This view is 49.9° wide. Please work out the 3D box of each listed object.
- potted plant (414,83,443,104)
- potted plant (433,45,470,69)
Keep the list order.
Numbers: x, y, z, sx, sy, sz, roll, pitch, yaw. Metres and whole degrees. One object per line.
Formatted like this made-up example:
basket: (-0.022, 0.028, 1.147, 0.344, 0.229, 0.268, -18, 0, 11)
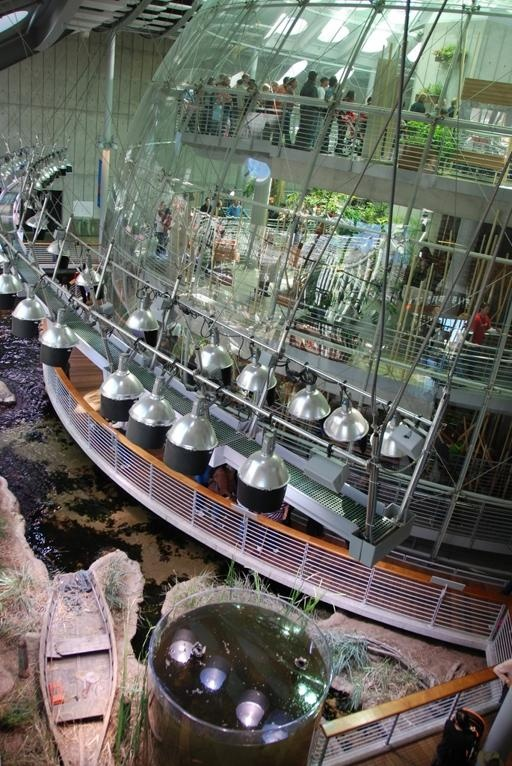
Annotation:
potted plant: (1.910, -3.204, 6.107, 0.263, 0.189, 0.194, -4, 56, -4)
potted plant: (2.080, -3.512, 5.978, 0.253, 0.113, 0.248, -30, 64, -12)
